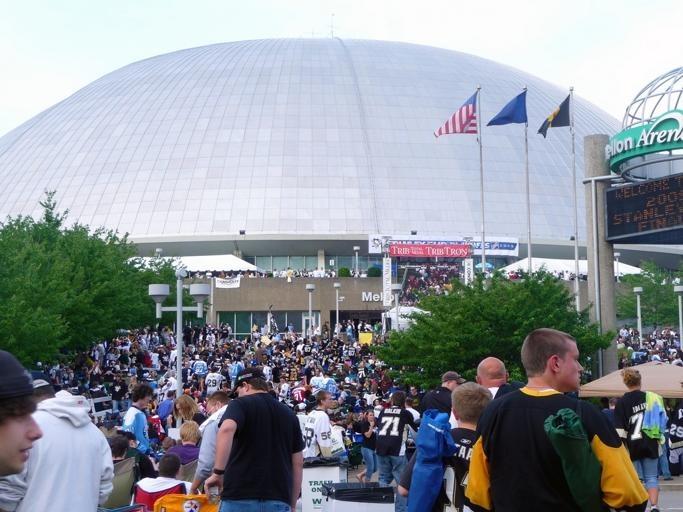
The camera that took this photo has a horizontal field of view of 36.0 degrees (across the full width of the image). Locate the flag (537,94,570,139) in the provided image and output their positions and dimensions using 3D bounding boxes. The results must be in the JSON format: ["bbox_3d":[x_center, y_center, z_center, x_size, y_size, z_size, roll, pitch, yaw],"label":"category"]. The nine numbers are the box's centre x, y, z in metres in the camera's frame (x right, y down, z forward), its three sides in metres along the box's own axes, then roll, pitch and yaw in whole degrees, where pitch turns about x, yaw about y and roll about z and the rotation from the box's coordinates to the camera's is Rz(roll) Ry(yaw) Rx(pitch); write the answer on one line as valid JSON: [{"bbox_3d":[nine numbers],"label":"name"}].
[{"bbox_3d":[8.598,-5.682,42.064,1.089,1.656,3.603,-5,-10,11],"label":"flag"}]

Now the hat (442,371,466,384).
[{"bbox_3d":[2.365,2.496,21.791,0.443,0.244,0.306,1,-4,-4],"label":"hat"}]
